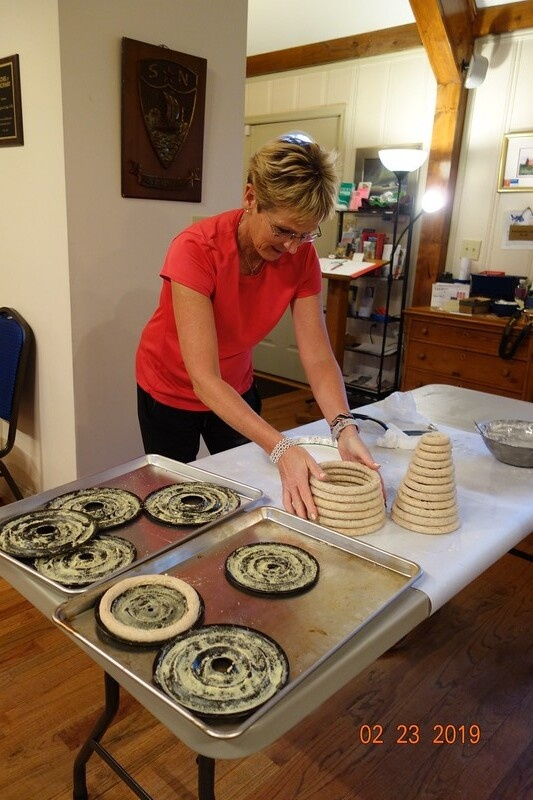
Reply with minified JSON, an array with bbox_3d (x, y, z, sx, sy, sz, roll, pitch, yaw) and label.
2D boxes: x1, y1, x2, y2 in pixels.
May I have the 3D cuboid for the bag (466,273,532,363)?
[{"bbox_3d":[1.343,-0.454,3.504,0.352,0.510,0.438,-12,19,-35],"label":"bag"}]

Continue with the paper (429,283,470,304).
[{"bbox_3d":[1.175,-0.675,3.881,0.090,0.145,0.163,-12,17,-39],"label":"paper"}]

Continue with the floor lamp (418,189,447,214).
[{"bbox_3d":[1.086,-1.311,4.038,0.081,0.171,0.208,-4,16,-30],"label":"floor lamp"}]

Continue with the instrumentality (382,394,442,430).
[{"bbox_3d":[0.390,0.036,1.669,0.087,0.059,0.134,-10,24,-33],"label":"instrumentality"}]

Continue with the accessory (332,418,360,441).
[{"bbox_3d":[0.179,0.068,1.388,0.055,0.052,0.021,-8,63,-37],"label":"accessory"}]

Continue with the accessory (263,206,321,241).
[{"bbox_3d":[0.049,-0.334,1.172,0.065,0.021,0.066,-9,44,-49],"label":"accessory"}]

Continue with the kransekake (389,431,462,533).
[{"bbox_3d":[0.307,0.151,1.120,0.121,0.164,0.102,-3,15,-24],"label":"kransekake"}]

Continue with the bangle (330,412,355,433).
[{"bbox_3d":[0.175,0.050,1.390,0.047,0.031,0.045,-10,1,-7],"label":"bangle"}]

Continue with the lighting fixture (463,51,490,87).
[{"bbox_3d":[1.285,-2.012,3.721,0.133,0.240,0.266,8,14,16],"label":"lighting fixture"}]

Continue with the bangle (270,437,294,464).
[{"bbox_3d":[0.025,0.105,1.219,0.020,0.051,0.044,36,43,18],"label":"bangle"}]

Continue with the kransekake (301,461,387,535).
[{"bbox_3d":[0.157,0.157,1.120,0.126,0.068,0.129,8,17,28],"label":"kransekake"}]
